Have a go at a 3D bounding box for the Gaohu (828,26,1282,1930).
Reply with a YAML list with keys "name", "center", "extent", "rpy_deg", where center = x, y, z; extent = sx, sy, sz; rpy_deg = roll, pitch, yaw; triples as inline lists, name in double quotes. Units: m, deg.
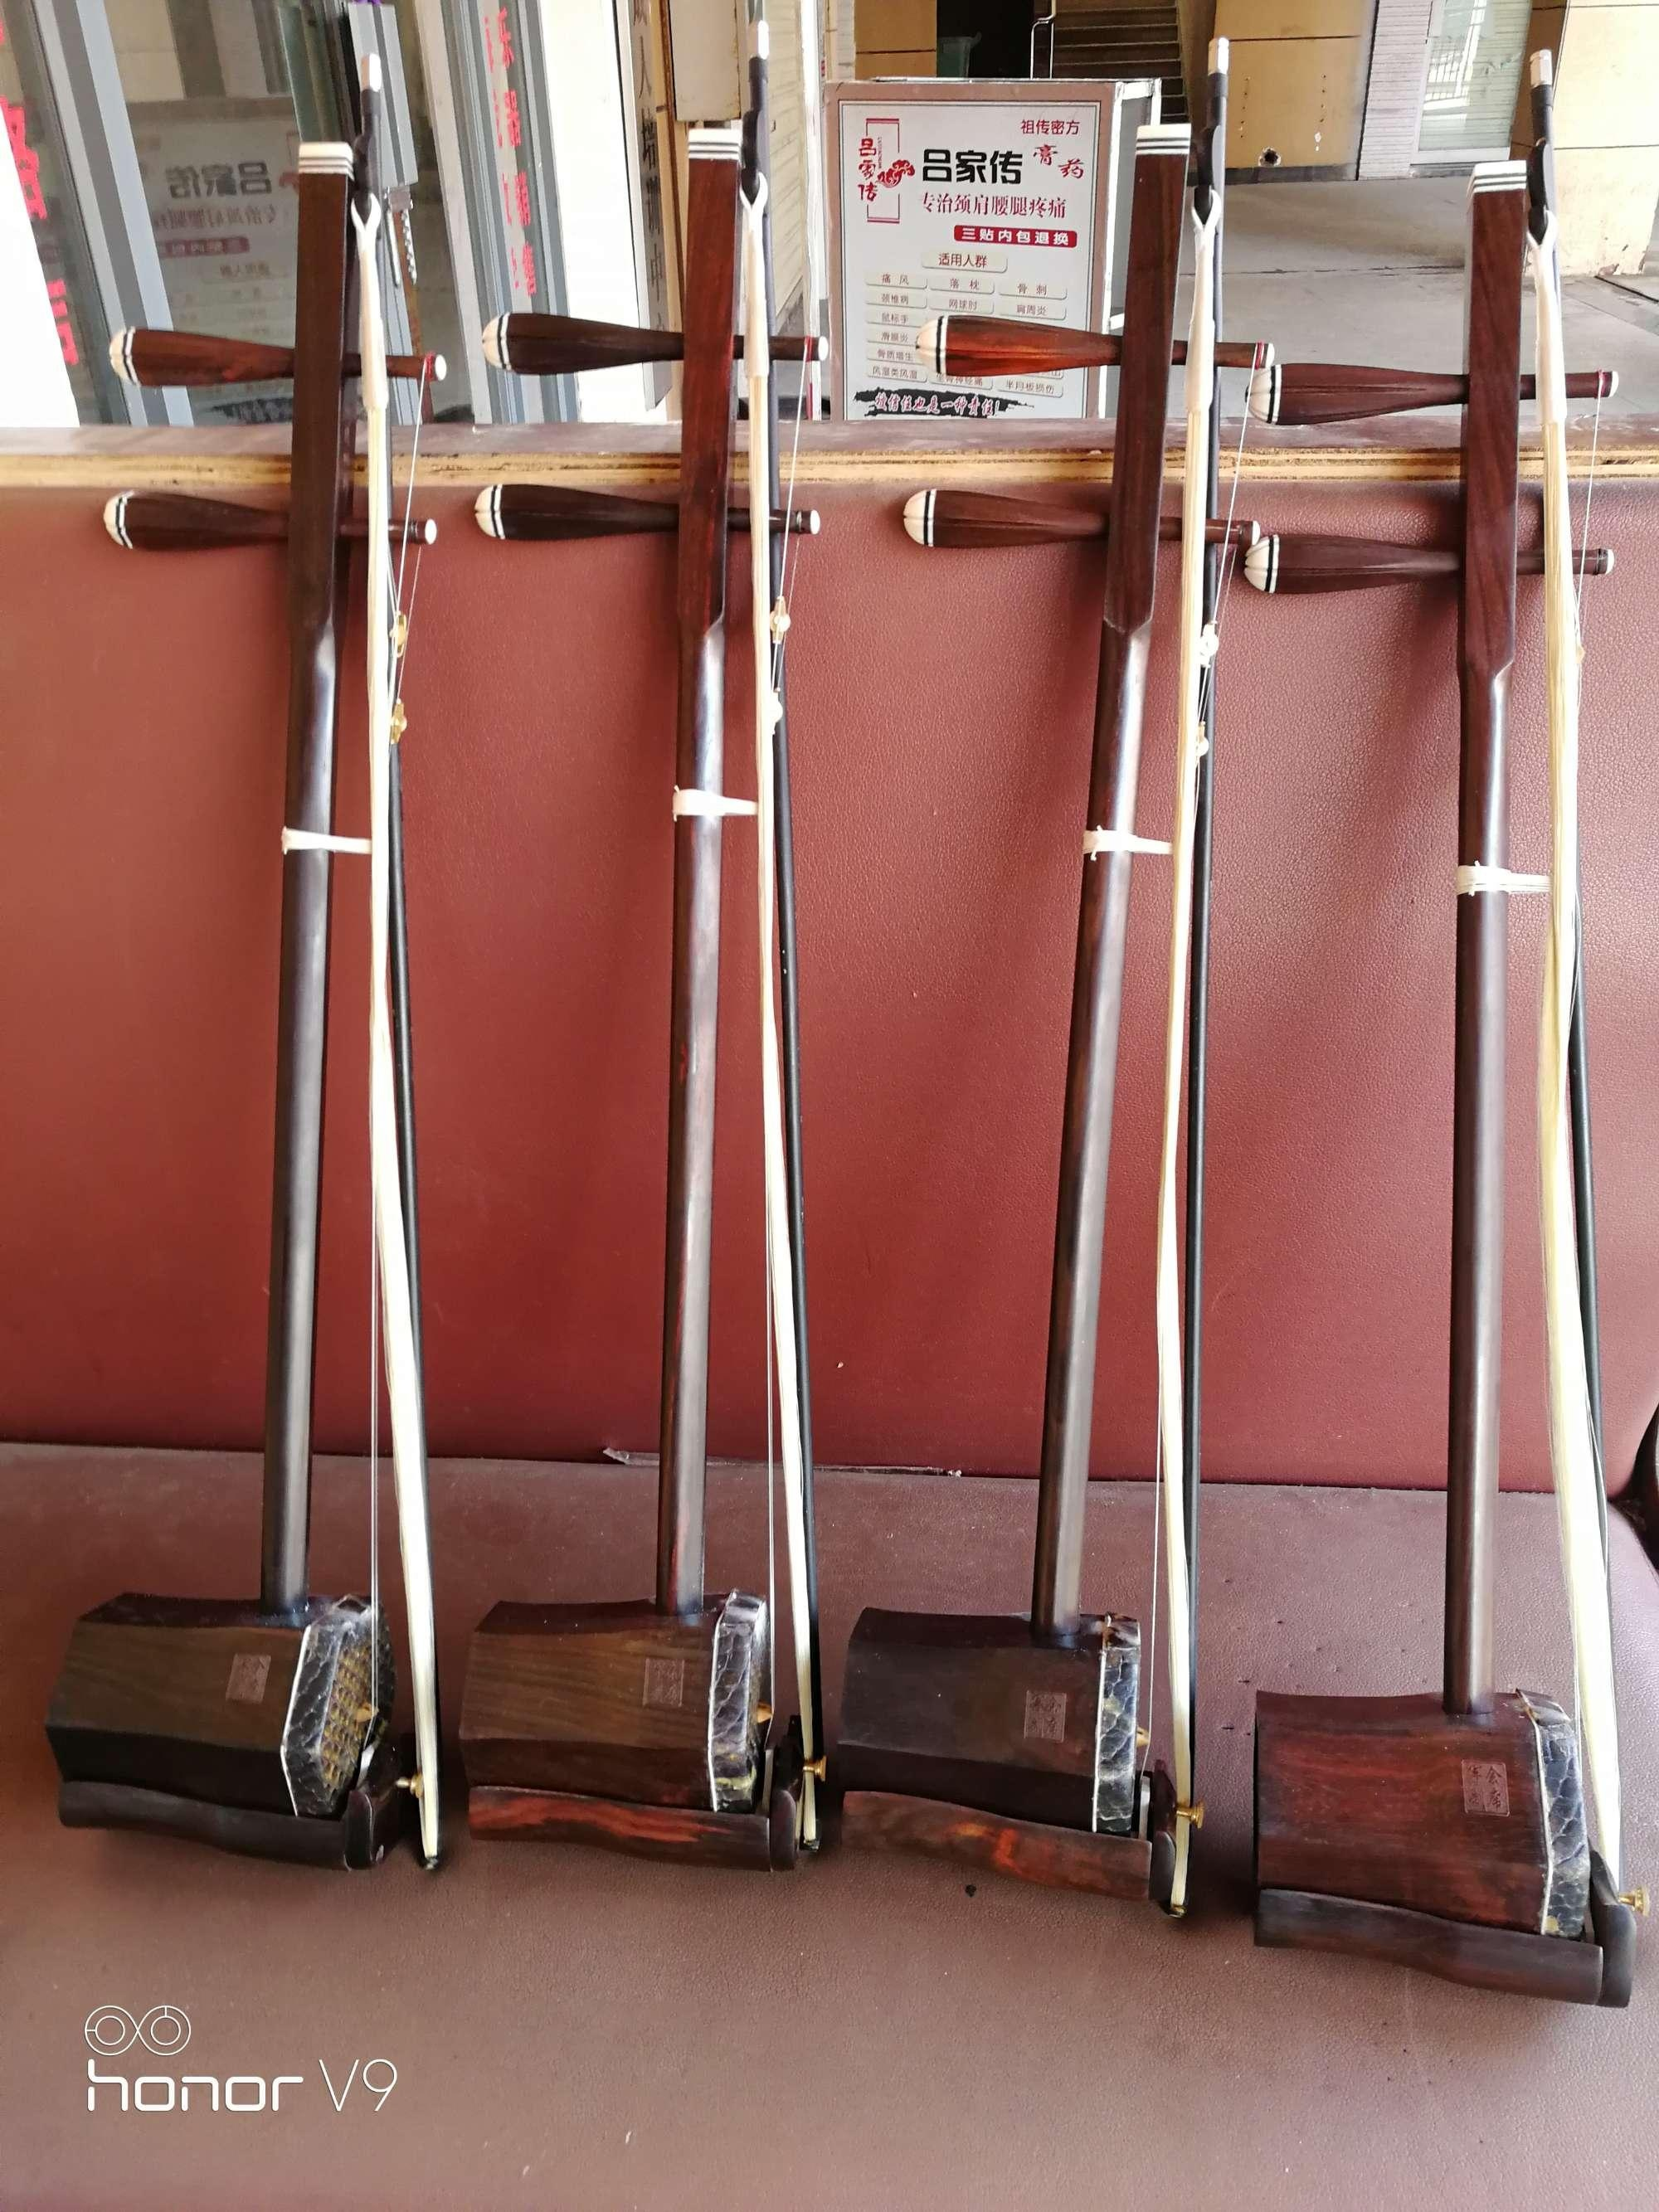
- name: "Gaohu"
  center: [0.117, 0.003, 1.042]
  extent: [0.198, 0.875, 0.124]
  rpy_deg: [8, 13, 19]
